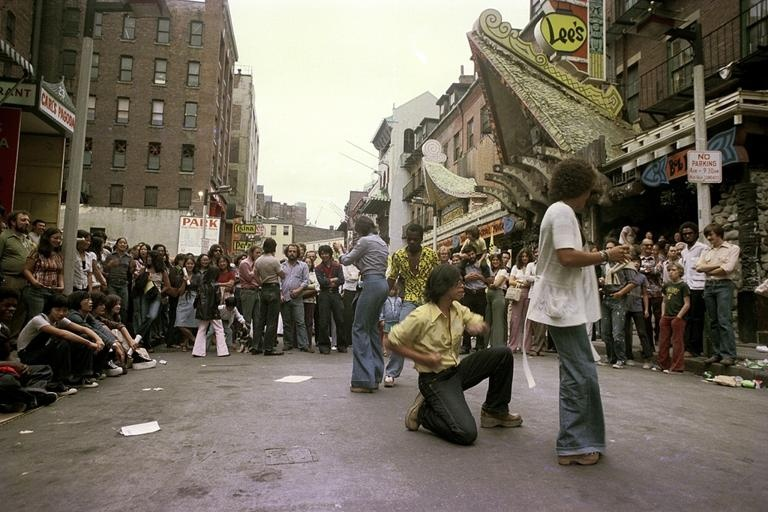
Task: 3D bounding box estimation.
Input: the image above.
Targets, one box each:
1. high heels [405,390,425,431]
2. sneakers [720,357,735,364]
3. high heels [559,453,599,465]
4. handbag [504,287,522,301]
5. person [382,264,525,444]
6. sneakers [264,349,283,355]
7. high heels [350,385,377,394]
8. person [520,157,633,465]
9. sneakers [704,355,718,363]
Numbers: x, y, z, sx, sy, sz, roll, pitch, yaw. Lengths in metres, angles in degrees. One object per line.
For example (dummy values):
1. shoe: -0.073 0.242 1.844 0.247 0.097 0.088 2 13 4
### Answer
1. high heels: 0.381 1.864 6.721 0.211 0.470 0.167 7 -15 2
2. sneakers: 6.180 1.888 10.073 0.199 0.141 0.177 -7 -8 40
3. high heels: 1.961 2.061 5.654 0.270 0.107 0.156 -4 -6 2
4. handbag: 2.973 0.870 12.851 0.259 0.248 0.136 10 -14 29
5. person: 0.763 1.102 6.576 1.470 2.035 0.768 -2 -6 -1
6. sneakers: -2.547 2.215 12.818 0.472 0.207 0.145 -2 -1 -3
7. high heels: -0.308 1.994 8.444 0.380 0.163 0.135 -1 -1 3
8. person: 1.976 0.521 5.915 0.860 3.217 0.472 -3 -6 13
9. sneakers: 6.055 1.901 10.366 0.203 0.153 0.296 -4 -7 14
